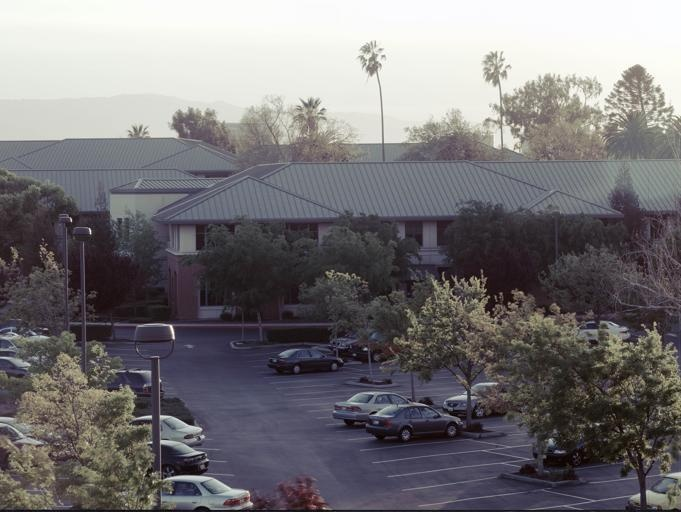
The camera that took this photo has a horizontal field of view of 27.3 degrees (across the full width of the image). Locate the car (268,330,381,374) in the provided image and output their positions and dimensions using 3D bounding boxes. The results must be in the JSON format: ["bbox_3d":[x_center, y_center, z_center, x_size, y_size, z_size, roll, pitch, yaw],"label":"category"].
[{"bbox_3d":[-2.365,8.414,107.017,8.047,3.306,3.493,2,-3,-39],"label":"car"}]

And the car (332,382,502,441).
[{"bbox_3d":[3.671,10.443,88.781,7.300,2.915,3.830,2,-4,-34],"label":"car"}]
